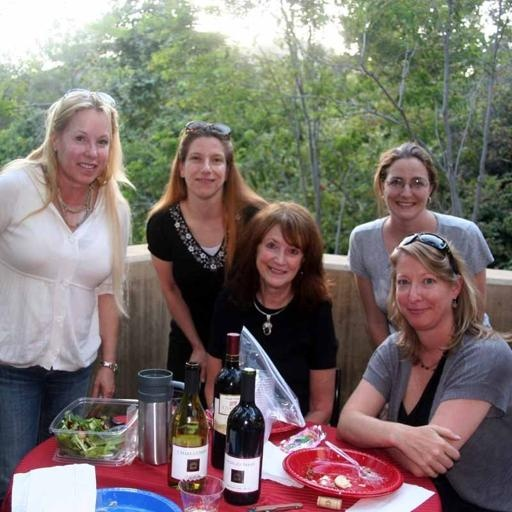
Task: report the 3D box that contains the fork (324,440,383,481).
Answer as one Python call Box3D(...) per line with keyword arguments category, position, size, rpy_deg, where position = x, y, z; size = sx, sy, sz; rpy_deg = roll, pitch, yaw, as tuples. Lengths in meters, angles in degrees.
Box3D(category="fork", position=(0.303, 0.638, 1.620), size=(0.049, 0.035, 0.228), rpy_deg=(-12, 20, -24))

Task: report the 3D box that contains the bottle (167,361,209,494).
Box3D(category="bottle", position=(-0.176, 0.456, 1.438), size=(0.107, 0.360, 0.112), rpy_deg=(3, 20, -1))

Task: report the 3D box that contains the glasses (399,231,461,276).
Box3D(category="glasses", position=(0.655, -0.041, 1.936), size=(0.154, 0.176, 0.050), rpy_deg=(13, 42, 32))

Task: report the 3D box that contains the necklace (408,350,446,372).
Box3D(category="necklace", position=(0.651, 0.396, 1.941), size=(0.076, 0.022, 0.076), rpy_deg=(-9, 39, 35))

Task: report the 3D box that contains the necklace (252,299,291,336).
Box3D(category="necklace", position=(0.072, 0.277, 2.323), size=(0.165, 0.022, 0.207), rpy_deg=(0, 53, 14))

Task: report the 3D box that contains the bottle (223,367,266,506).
Box3D(category="bottle", position=(-0.033, 0.488, 1.375), size=(0.105, 0.326, 0.110), rpy_deg=(0, 3, 0))

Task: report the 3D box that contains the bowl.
Box3D(category="bowl", position=(-0.505, 0.557, 1.703), size=(0.228, 0.112, 0.316), rpy_deg=(6, 1, -5))

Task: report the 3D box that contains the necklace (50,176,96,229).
Box3D(category="necklace", position=(-0.794, -0.225, 2.259), size=(0.155, 0.236, 0.057), rpy_deg=(2, -1, -27))

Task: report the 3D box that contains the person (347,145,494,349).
Box3D(category="person", position=(0.936, 0.180, 3.075), size=(0.774, 1.734, 0.419), rpy_deg=(-1, 26, 25))
